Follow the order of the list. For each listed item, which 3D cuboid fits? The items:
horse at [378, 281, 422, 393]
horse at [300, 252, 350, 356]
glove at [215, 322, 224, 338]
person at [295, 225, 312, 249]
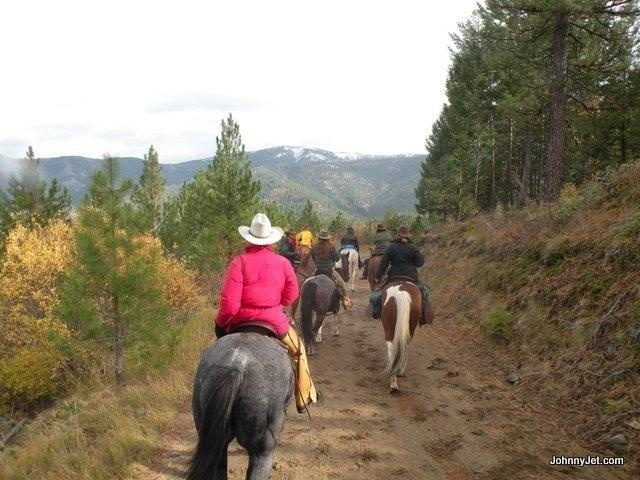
[{"bbox_3d":[2.263,2.749,15.803,0.969,2.890,1.411,7,9,42],"label":"horse"},{"bbox_3d":[0.269,2.229,19.260,0.866,2.995,3.743,7,5,22],"label":"horse"},{"bbox_3d":[-2.430,2.153,12.831,0.220,0.297,0.300,2,-17,-6],"label":"glove"},{"bbox_3d":[-0.712,-0.326,25.342,0.406,0.599,1.474,6,41,-10],"label":"person"}]
